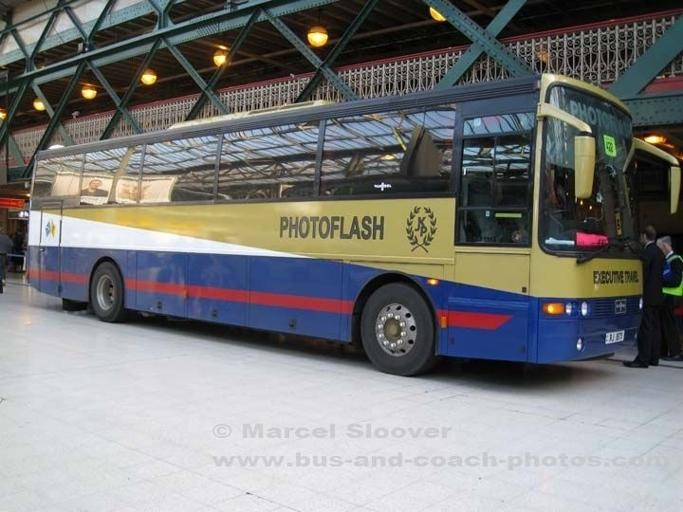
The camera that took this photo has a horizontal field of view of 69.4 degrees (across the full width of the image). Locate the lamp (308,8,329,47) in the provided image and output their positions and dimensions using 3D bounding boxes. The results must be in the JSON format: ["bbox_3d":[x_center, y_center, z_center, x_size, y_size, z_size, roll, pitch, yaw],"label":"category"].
[{"bbox_3d":[-0.793,-7.952,17.133,0.767,1.315,0.757,-1,8,-33],"label":"lamp"}]
